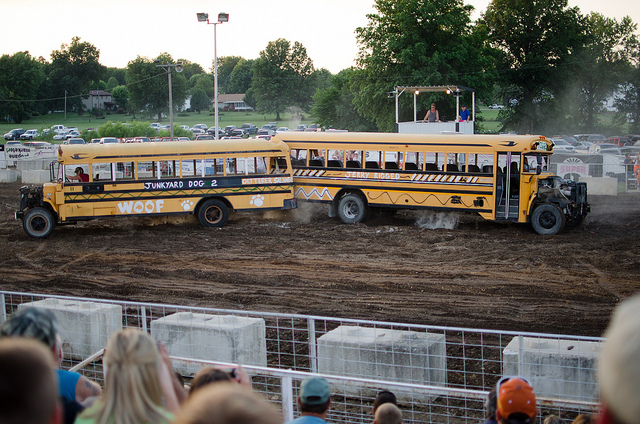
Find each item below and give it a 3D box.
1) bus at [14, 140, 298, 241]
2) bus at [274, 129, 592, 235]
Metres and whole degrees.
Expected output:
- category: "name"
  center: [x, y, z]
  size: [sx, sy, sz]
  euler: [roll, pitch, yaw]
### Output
- category: "bus"
  center: [-5.994, -0.888, 32.204]
  size: [9.726, 3.484, 0.747]
  euler: [-2, 7, -12]
- category: "bus"
  center: [3.957, -1.101, 33.255]
  size: [10.724, 3.529, 2.681]
  euler: [2, -2, 11]
